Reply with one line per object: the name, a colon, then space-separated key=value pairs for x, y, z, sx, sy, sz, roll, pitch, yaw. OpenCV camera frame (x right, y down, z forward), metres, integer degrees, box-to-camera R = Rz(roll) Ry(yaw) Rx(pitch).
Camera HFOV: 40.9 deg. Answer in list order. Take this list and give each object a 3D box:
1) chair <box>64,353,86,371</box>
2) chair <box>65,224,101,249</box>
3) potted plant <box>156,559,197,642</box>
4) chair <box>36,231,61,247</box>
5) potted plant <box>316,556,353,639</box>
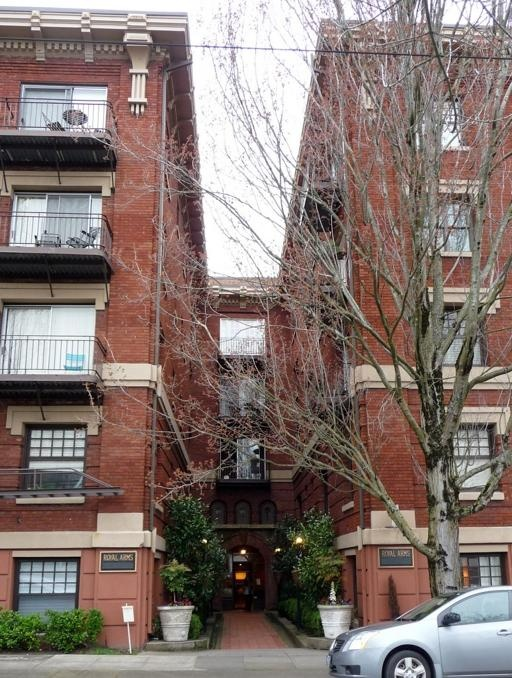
chair: x=-4.327 y=0.556 z=16.319 sx=0.479 sy=0.564 sz=0.633 roll=1 pitch=-16 yaw=-13
chair: x=-4.286 y=-2.542 z=17.053 sx=0.532 sy=0.639 sz=1.046 roll=12 pitch=0 yaw=-36
potted plant: x=-1.900 y=6.174 z=16.216 sx=0.771 sy=1.778 sz=2.528 roll=-1 pitch=-16 yaw=-7
chair: x=-5.218 y=-2.495 z=17.247 sx=0.557 sy=0.378 sz=0.556 roll=0 pitch=-5 yaw=-10
potted plant: x=1.829 y=6.111 z=16.345 sx=1.067 sy=1.785 sz=1.068 roll=-4 pitch=-21 yaw=7
